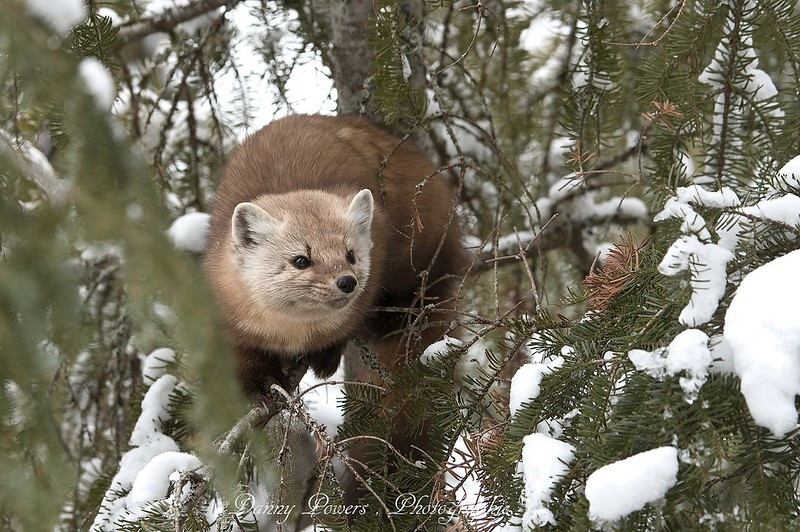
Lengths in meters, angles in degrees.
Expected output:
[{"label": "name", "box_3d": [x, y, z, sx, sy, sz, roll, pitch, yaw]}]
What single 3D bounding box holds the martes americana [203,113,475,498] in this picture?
[{"label": "martes americana", "box_3d": [-0.353, -0.025, 5.702, 1.946, 1.617, 1.537, -5, -22, -14]}]
